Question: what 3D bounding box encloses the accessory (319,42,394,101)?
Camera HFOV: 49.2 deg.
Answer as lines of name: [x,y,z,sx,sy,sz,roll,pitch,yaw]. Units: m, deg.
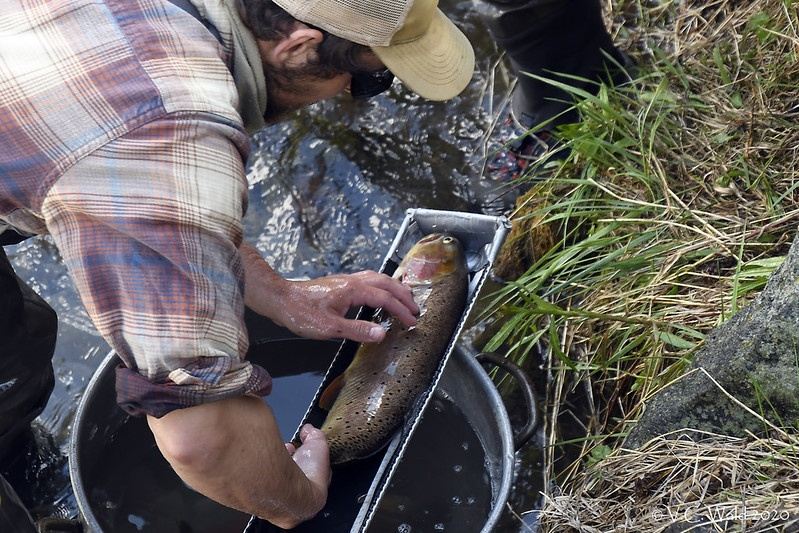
accessory: [-0.191,-0.819,3.652,0.079,0.217,0.165,-42,33,29]
